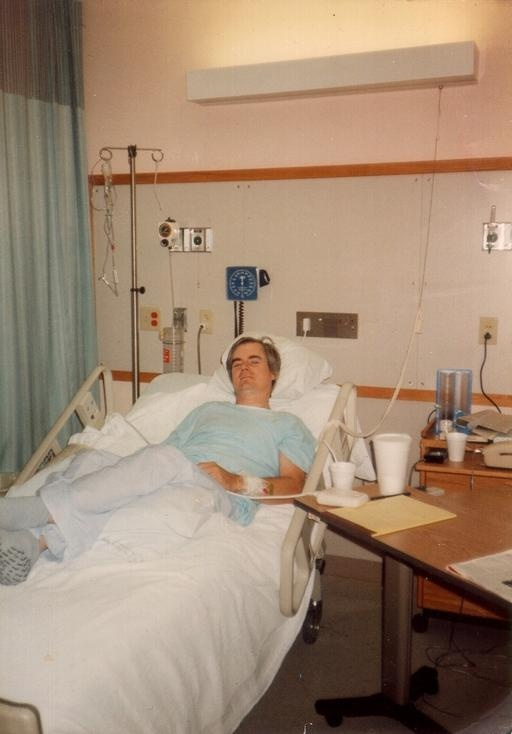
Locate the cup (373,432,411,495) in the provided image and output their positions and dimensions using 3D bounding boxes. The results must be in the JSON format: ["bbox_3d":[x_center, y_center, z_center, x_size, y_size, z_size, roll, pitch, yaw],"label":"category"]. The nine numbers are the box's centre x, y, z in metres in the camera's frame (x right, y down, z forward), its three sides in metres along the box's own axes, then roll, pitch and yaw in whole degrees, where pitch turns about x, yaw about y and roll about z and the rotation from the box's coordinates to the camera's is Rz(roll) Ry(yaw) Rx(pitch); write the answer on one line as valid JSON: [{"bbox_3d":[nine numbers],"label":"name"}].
[{"bbox_3d":[0.320,0.223,1.416,0.085,0.148,0.152,7,11,15],"label":"cup"}]

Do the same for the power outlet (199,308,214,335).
[{"bbox_3d":[-0.256,-0.235,3.077,0.085,0.121,0.029,6,11,10],"label":"power outlet"}]

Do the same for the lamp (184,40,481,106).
[{"bbox_3d":[0.290,-1.224,2.529,1.225,0.166,0.233,9,12,23],"label":"lamp"}]

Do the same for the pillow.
[{"bbox_3d":[0.127,-0.064,2.431,0.333,0.112,0.370,19,29,40],"label":"pillow"}]

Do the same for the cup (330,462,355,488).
[{"bbox_3d":[0.187,0.236,1.324,0.057,0.063,0.058,0,0,0],"label":"cup"}]
